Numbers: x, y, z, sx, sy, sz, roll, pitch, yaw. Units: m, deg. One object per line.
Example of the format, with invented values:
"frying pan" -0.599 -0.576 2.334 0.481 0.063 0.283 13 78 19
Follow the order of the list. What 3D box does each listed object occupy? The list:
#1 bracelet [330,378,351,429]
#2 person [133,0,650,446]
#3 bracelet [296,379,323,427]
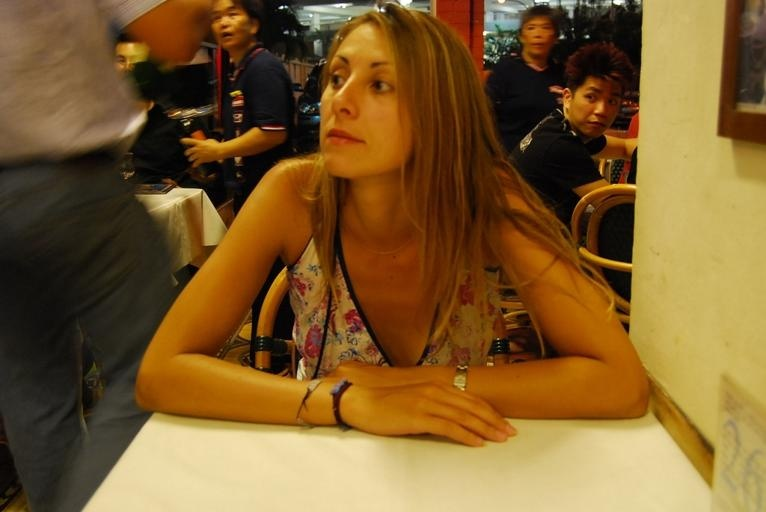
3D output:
"bracelet" -0.083 0.262 0.982 0.046 0.061 0.018 17 -39 -43
"person" -0.003 -0.042 1.367 1.207 1.069 0.792 -1 -8 15
"bracelet" -0.136 0.257 0.964 0.035 0.064 0.017 16 -37 -1
